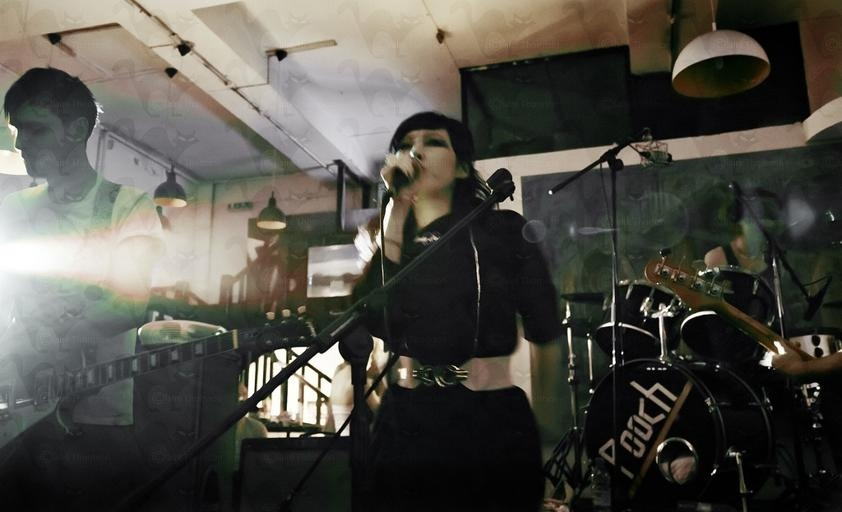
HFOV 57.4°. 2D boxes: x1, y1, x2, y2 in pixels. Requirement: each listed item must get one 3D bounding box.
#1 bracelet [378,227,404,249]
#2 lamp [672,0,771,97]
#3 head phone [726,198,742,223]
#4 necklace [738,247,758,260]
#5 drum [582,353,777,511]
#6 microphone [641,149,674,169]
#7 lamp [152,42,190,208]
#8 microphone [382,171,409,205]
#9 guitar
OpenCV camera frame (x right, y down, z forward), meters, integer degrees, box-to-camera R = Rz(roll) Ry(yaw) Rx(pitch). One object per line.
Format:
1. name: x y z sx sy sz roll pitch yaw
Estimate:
1. bracelet: -0.183 -0.115 4.666 0.132 0.139 0.133 -1 -7 7
2. lamp: 1.743 -1.157 4.521 0.440 0.494 0.460 5 -19 -5
3. head phone: 1.852 -0.269 4.533 0.093 0.132 0.030 4 -7 13
4. necklace: 1.912 -0.018 4.513 0.082 0.057 0.021 24 -19 8
5. drum: 1.445 0.928 4.506 1.111 1.107 0.766 -5 -5 44
6. microphone: 1.408 -0.581 4.587 0.148 0.097 0.059 -10 -21 13
7. lamp: -1.620 -0.849 5.002 0.264 1.056 0.221 0 -10 4
8. microphone: -0.154 -0.433 4.804 0.145 0.201 0.073 9 13 -2
9. guitar: -1.539 0.813 4.692 3.294 0.404 0.372 -12 -12 28
